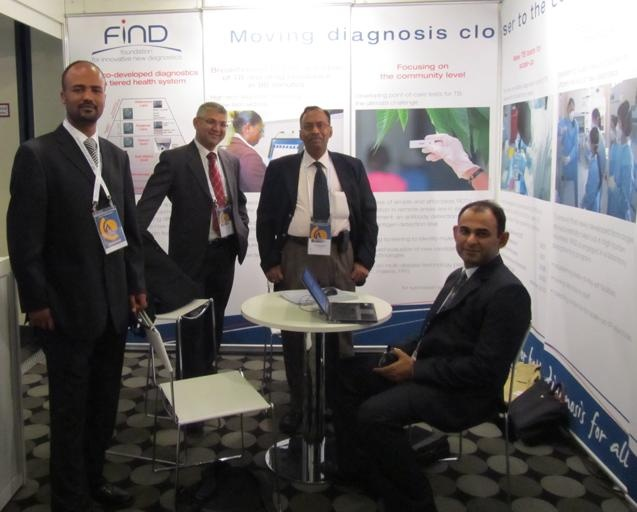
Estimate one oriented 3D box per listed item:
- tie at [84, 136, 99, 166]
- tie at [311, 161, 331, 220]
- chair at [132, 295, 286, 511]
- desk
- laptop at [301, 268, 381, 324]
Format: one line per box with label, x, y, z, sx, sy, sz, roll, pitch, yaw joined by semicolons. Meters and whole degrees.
tie;-1.093;-0.510;2.581;0.023;0.105;0.077;-1;16;22
tie;0.009;-0.425;3.520;0.111;0.374;0.176;-1;13;-1
chair;-0.614;0.716;3.233;0.912;1.463;0.815;-4;20;-20
desk;0.001;0.622;3.092;0.673;0.802;0.739;-4;-18;20
laptop;0.117;0.198;2.912;0.449;0.248;0.464;-5;8;-18
